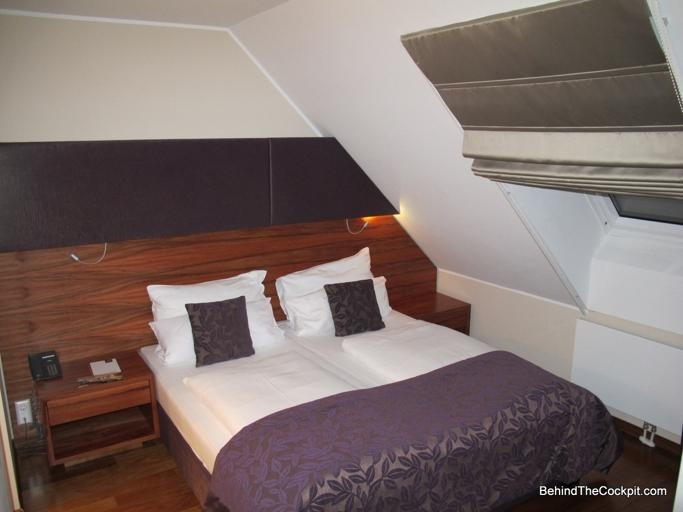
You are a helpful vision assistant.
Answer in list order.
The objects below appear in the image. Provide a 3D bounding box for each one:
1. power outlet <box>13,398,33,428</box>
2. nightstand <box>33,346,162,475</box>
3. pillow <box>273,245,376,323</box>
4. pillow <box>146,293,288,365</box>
[{"bbox_3d":[-2.405,1.193,3.554,0.118,0.242,0.097,-6,6,43],"label":"power outlet"},{"bbox_3d":[-1.840,1.151,3.549,0.735,0.642,0.493,-6,16,-38],"label":"nightstand"},{"bbox_3d":[-0.220,0.269,4.454,1.261,0.511,0.185,-18,4,-41],"label":"pillow"},{"bbox_3d":[-1.157,0.717,3.971,0.851,0.504,0.262,-16,-14,-24],"label":"pillow"}]
